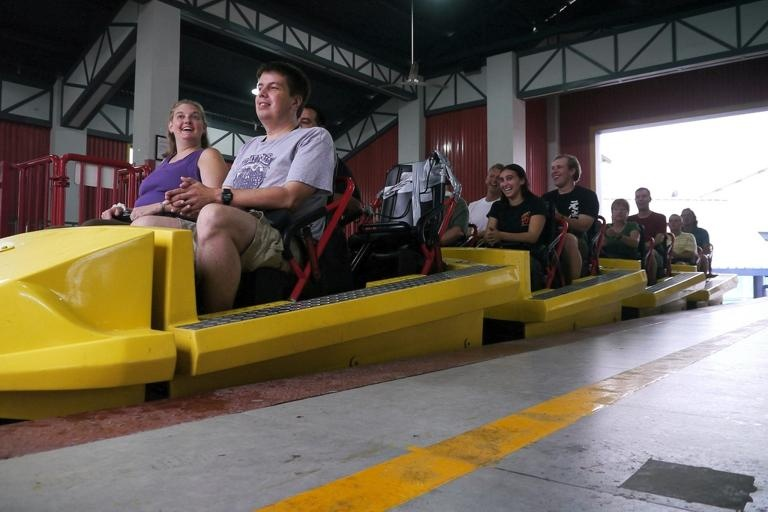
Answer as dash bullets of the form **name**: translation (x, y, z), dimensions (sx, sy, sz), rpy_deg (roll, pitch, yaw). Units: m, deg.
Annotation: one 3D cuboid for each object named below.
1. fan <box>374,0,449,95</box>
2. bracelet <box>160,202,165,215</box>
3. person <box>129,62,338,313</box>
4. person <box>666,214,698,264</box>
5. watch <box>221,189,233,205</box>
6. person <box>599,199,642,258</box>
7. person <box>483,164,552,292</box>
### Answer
- **fan**: translation (0.654, -5.439, 14.243), dimensions (1.948, 2.612, 1.900), rpy_deg (2, -12, -7)
- **bracelet**: translation (-1.194, -0.255, 2.957), dimensions (0.023, 0.065, 0.103), rpy_deg (-3, 10, -23)
- **person**: translation (-0.800, -0.466, 3.137), dimensions (0.752, 1.342, 0.993), rpy_deg (7, 11, 37)
- **person**: translation (5.418, -0.327, 9.949), dimensions (0.519, 0.812, 1.069), rpy_deg (5, 10, 27)
- **watch**: translation (-0.815, -0.304, 2.791), dimensions (0.058, 0.084, 0.078), rpy_deg (1, 0, -26)
- **person**: translation (3.062, -0.351, 7.032), dimensions (0.459, 0.733, 0.319), rpy_deg (7, 11, 35)
- **person**: translation (1.217, -0.303, 5.158), dimensions (0.574, 1.104, 0.902), rpy_deg (0, 9, -4)
